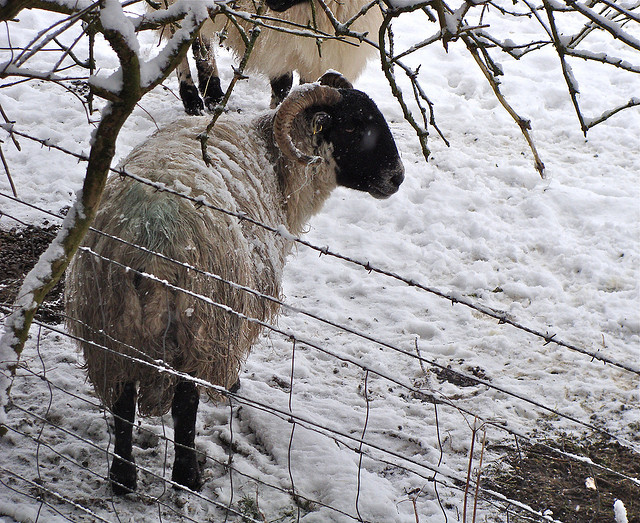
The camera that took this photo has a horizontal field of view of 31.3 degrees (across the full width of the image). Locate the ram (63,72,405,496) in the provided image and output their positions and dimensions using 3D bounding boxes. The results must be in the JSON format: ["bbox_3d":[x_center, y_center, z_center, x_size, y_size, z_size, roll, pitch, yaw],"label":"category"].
[{"bbox_3d":[-0.718,-0.035,8.179,2.013,3.539,1.292,16,-18,-17],"label":"ram"}]
